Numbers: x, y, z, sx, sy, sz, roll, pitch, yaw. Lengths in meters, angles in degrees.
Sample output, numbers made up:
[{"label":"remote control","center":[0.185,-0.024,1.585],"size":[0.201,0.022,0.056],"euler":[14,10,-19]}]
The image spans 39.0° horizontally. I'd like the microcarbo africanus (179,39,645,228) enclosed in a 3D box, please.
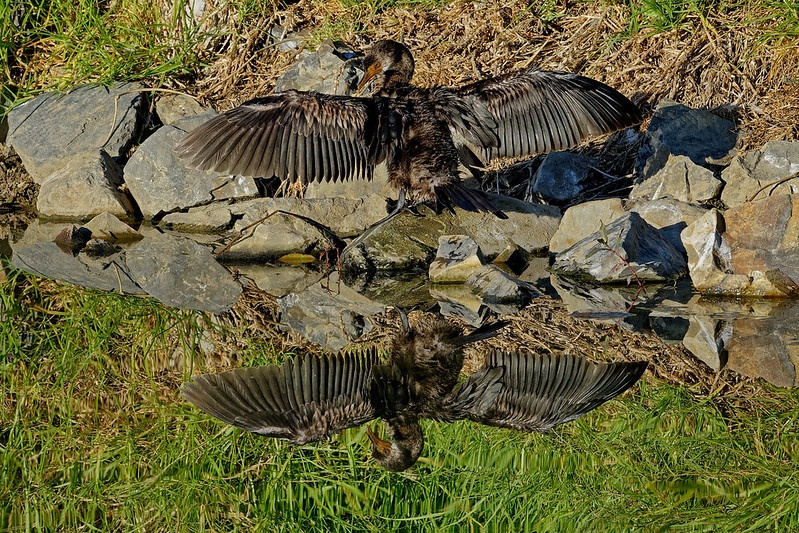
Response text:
[{"label":"microcarbo africanus","center":[0.112,-0.942,9.090],"size":[3.322,1.272,1.104],"euler":[-5,38,-2]}]
